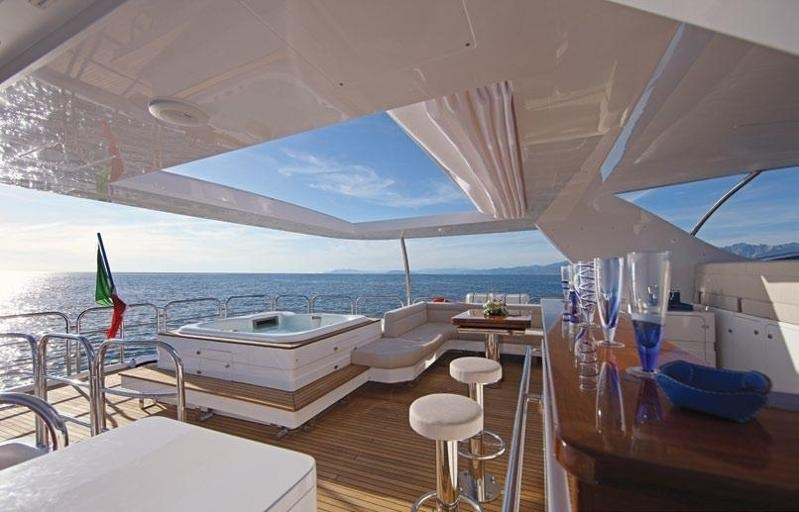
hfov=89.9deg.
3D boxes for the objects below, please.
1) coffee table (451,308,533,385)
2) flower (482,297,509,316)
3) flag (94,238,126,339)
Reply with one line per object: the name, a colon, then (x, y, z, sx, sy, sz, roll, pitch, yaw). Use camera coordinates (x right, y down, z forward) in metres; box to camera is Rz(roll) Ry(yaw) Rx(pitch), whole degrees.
coffee table: (1.103, 0.943, 4.584, 0.874, 0.756, 0.845, -2, 0, 18)
flower: (1.050, 0.577, 4.500, 0.248, 0.103, 0.247, -1, 8, -5)
flag: (-3.233, 0.407, 4.479, 0.253, 1.360, 1.269, -3, 7, -35)
